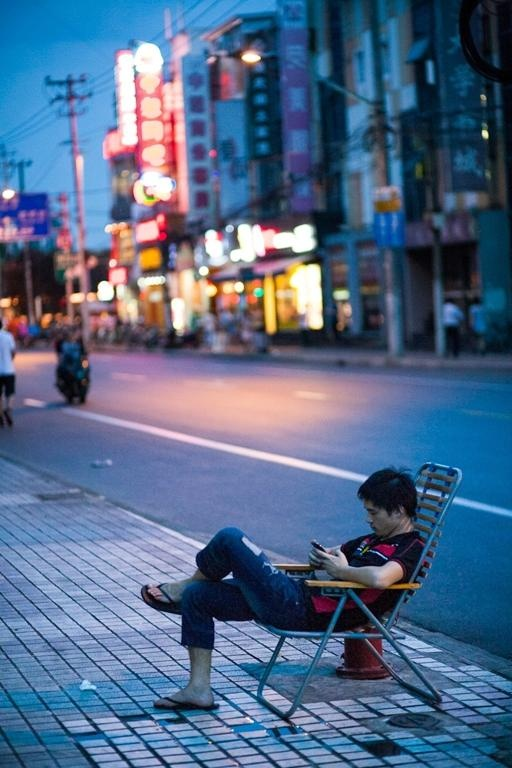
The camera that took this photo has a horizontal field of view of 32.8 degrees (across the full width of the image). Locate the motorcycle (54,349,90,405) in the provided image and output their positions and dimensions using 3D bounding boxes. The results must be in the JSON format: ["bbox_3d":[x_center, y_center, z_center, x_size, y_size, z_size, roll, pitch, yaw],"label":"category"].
[{"bbox_3d":[-4.469,-0.249,21.187,0.778,1.384,1.172,-3,3,-13],"label":"motorcycle"}]

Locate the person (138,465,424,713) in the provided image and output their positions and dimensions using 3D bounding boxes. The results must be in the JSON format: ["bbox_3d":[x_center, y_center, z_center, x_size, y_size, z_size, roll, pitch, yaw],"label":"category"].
[{"bbox_3d":[0.174,0.898,4.044,1.369,1.213,0.721,5,-13,2],"label":"person"}]

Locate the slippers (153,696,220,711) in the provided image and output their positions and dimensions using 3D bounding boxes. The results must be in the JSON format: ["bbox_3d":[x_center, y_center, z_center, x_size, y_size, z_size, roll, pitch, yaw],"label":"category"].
[{"bbox_3d":[-0.294,1.304,3.548,0.220,0.044,0.081,5,-8,-2],"label":"slippers"}]

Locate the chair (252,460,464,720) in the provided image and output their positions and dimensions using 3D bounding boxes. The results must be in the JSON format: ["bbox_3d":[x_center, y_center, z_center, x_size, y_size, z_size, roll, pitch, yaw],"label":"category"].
[{"bbox_3d":[0.437,0.867,3.877,0.830,0.958,0.672,1,1,-18],"label":"chair"}]

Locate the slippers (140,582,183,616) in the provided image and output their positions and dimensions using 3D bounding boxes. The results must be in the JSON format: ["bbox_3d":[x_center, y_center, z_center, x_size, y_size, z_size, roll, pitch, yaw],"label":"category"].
[{"bbox_3d":[-0.423,0.964,3.830,0.097,0.061,0.241,-18,37,-37],"label":"slippers"}]
